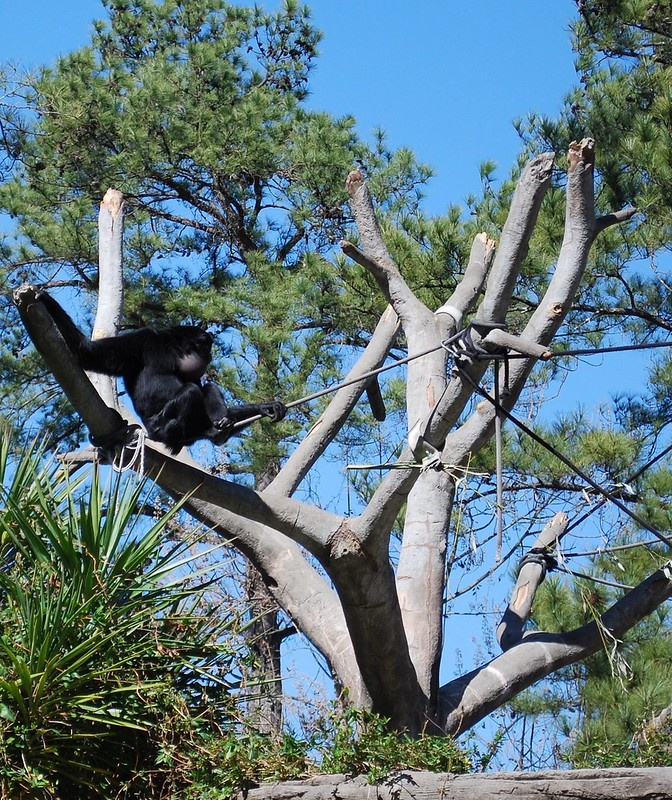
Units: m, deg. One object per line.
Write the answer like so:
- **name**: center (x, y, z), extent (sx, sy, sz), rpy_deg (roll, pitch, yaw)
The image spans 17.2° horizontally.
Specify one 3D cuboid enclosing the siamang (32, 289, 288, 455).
- **siamang**: center (-0.987, -0.164, 13.400), extent (0.372, 0.473, 1.144), rpy_deg (-23, -42, 21)
